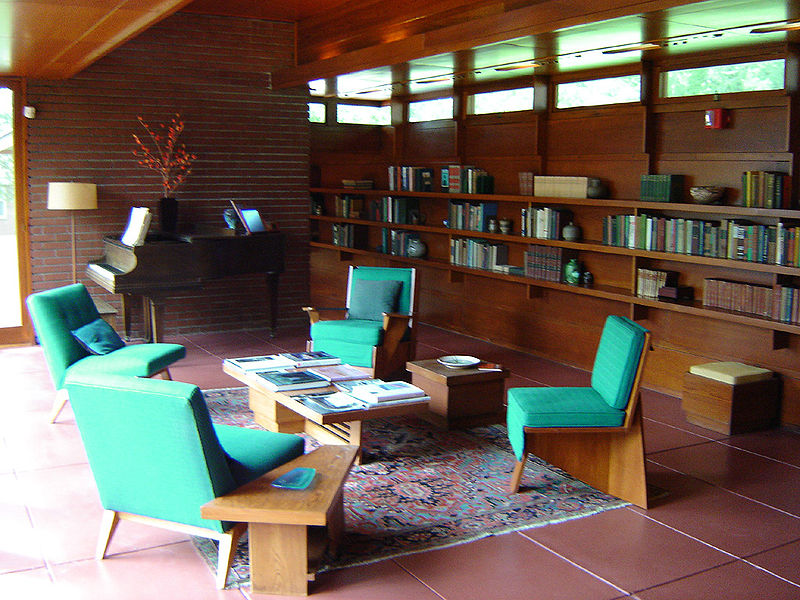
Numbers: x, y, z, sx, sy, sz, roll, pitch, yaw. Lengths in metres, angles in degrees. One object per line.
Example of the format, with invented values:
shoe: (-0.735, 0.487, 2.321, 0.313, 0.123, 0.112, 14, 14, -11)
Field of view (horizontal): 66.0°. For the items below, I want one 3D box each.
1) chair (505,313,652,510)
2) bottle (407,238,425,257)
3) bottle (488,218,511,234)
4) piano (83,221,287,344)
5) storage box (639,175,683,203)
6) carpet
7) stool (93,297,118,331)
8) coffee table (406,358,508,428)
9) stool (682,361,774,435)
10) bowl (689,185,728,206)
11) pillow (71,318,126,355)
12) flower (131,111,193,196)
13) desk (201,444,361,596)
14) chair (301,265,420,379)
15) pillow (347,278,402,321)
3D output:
chair: (1.132, 0.661, 3.885, 0.891, 1.076, 0.700, 3, 16, 8)
bottle: (0.220, -0.694, 8.296, 0.359, 0.198, 0.235, 1, 7, 11)
bottle: (1.159, -0.871, 7.248, 0.276, 0.124, 0.134, 8, 17, 31)
piano: (-2.724, -0.211, 7.527, 1.794, 1.056, 2.620, 4, 11, 44)
storage box: (2.343, -1.005, 5.539, 0.371, 0.245, 0.311, 5, 14, 16)
carpet: (0.206, 1.070, 3.477, 1.424, 0.018, 1.381, -3, 8, -31)
stool: (-2.958, 0.146, 6.184, 0.203, 0.127, 0.545, -1, 5, -26)
coffee table: (0.433, 0.724, 5.065, 0.802, 0.287, 0.640, -2, 7, -24)
stool: (2.714, 0.787, 5.023, 0.751, 0.300, 0.592, 1, 1, 5)
bowl: (2.630, -0.901, 5.316, 0.303, 0.100, 0.235, 2, 4, 12)
pillow: (-2.458, 0.303, 5.019, 0.311, 0.087, 0.335, 37, 18, 18)
flower: (-2.918, -1.803, 7.642, 0.765, 1.019, 0.299, -5, 19, -19)
desk: (-0.585, 1.052, 2.914, 0.452, 0.230, 0.956, 3, 4, 7)
chair: (-0.330, 0.239, 5.915, 1.005, 0.821, 0.920, -17, 25, -28)
pillow: (-0.285, -0.005, 6.191, 0.704, 0.367, 0.161, 7, 0, 7)
